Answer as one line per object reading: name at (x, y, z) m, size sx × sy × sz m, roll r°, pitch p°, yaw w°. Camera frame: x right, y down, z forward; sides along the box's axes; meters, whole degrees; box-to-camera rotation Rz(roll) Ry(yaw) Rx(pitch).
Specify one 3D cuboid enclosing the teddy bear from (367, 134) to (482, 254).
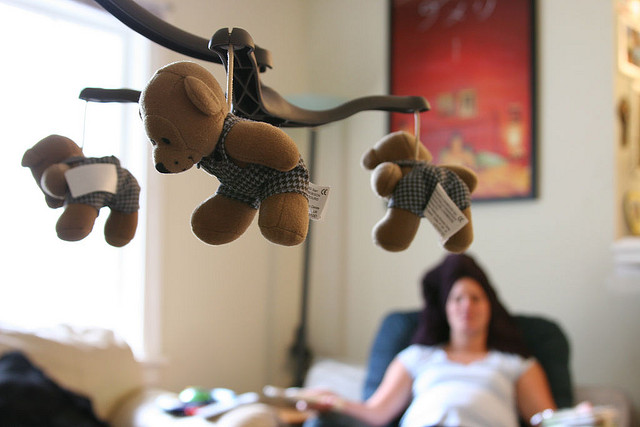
teddy bear at (0.280, -0.069, 1.779) m, size 0.350 × 0.328 × 0.196 m, roll 1°, pitch -12°, yaw 8°

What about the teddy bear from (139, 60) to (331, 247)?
teddy bear at (-0.226, -0.143, 1.589) m, size 0.390 × 0.439 × 0.099 m, roll -2°, pitch 4°, yaw 2°

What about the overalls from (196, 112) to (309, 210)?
overalls at (-0.151, -0.109, 1.583) m, size 0.145 × 0.247 × 0.231 m, roll -11°, pitch 19°, yaw -37°

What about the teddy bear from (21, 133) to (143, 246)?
teddy bear at (-0.637, -0.073, 1.782) m, size 0.280 × 0.333 × 0.228 m, roll -15°, pitch -15°, yaw -13°
